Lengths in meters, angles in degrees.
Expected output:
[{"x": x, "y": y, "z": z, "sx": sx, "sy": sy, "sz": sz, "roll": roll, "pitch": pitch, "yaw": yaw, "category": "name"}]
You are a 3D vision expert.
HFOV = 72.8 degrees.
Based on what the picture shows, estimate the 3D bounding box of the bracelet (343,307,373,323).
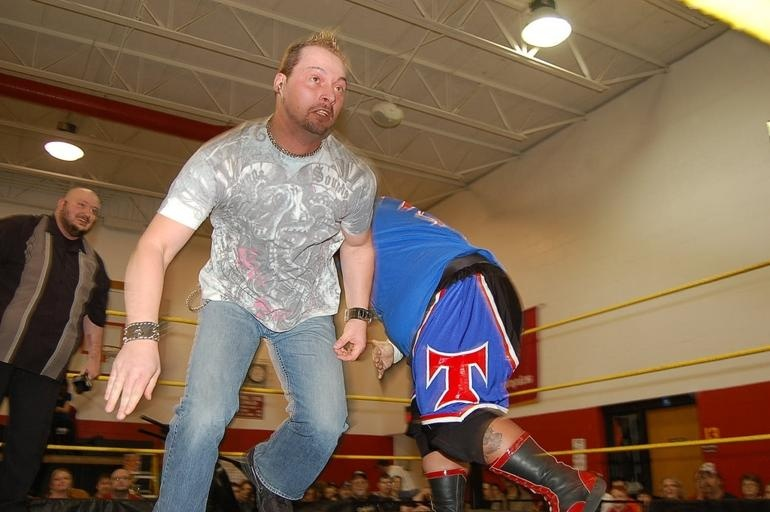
[{"x": -0.144, "y": 0.321, "z": 2.846, "sx": 0.127, "sy": 0.074, "sz": 0.127, "roll": 0, "pitch": -8, "yaw": 19, "category": "bracelet"}]

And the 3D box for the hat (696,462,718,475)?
[{"x": 3.984, "y": 2.609, "z": 6.437, "sx": 0.147, "sy": 0.081, "sz": 0.149, "roll": 1, "pitch": -6, "yaw": 16, "category": "hat"}]
